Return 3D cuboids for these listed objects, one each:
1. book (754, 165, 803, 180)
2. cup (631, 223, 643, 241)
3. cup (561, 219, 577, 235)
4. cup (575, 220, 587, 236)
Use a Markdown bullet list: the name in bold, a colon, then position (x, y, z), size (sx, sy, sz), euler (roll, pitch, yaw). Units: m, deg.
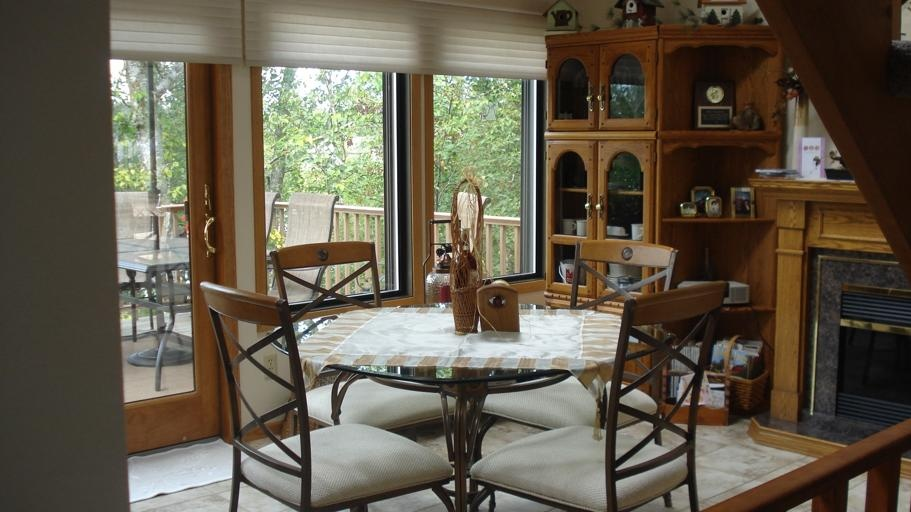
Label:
- **book**: position (1.986, -0.501, 4.144), size (0.235, 0.057, 0.424), euler (3, 9, 26)
- **cup**: position (1.186, -0.156, 4.379), size (0.116, 0.095, 0.074), euler (2, 0, 19)
- **cup**: position (0.791, -0.190, 4.750), size (0.087, 0.076, 0.106), euler (-3, 8, -27)
- **cup**: position (0.868, -0.186, 4.633), size (0.084, 0.099, 0.105), euler (-1, -2, 32)
